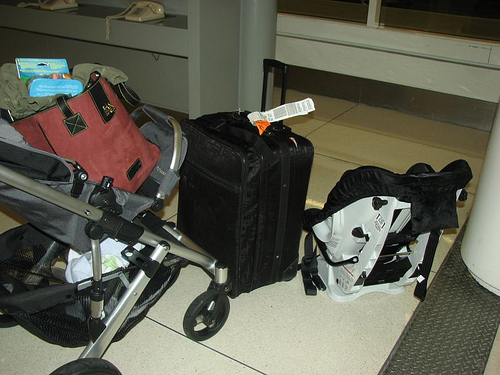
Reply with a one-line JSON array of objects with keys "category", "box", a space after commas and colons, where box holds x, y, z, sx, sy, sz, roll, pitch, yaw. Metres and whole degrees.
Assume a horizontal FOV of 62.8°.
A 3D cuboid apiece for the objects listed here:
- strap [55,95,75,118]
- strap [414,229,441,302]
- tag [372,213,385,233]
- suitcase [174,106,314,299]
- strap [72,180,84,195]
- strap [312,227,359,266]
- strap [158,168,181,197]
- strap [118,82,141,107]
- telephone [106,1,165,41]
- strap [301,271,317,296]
[{"category": "strap", "box": [-0.609, -0.265, 1.346, 0.034, 0.058, 0.046, -32, 47, -33]}, {"category": "strap", "box": [0.884, 0.393, 2.060, 0.084, 0.397, 0.056, 19, 25, 19]}, {"category": "tag", "box": [0.580, 0.160, 1.843, 0.037, 0.075, 0.045, -22, 42, -24]}, {"category": "suitcase", "box": [-0.033, 0.090, 1.927, 0.404, 0.779, 0.585, -16, 38, -30]}, {"category": "strap", "box": [-0.578, -0.004, 1.375, 0.031, 0.054, 0.028, 8, 18, -22]}, {"category": "strap", "box": [0.406, 0.322, 2.016, 0.050, 0.198, 0.141, -44, 26, -19]}, {"category": "strap", "box": [-0.327, -0.026, 1.656, 0.067, 0.128, 0.081, 0, 28, -41]}, {"category": "strap", "box": [-0.467, -0.361, 1.586, 0.023, 0.090, 0.092, -40, 5, -1]}, {"category": "telephone", "box": [-0.876, -1.292, 3.167, 0.336, 0.213, 0.388, 14, 41, 19]}, {"category": "strap", "box": [0.319, 0.503, 2.150, 0.052, 0.032, 0.106, -2, 57, -10]}]
